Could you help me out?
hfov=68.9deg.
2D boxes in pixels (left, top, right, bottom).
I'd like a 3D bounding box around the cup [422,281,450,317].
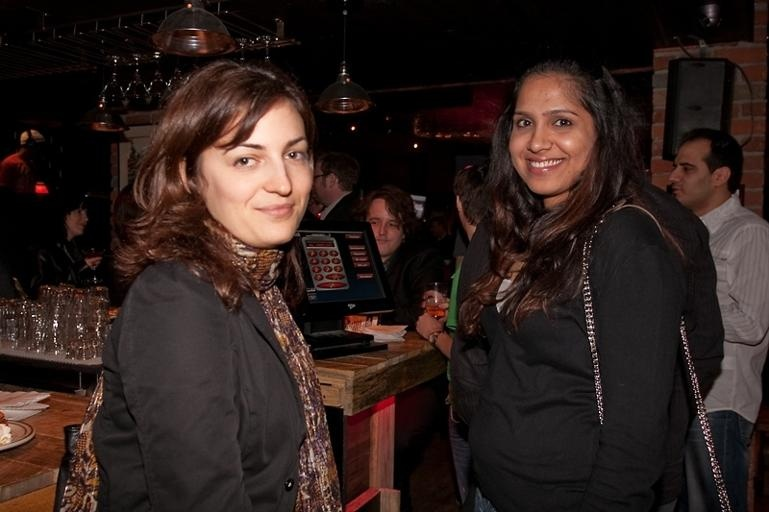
[{"bbox_3d":[0.315,0.260,3.392,0.196,0.259,0.168,4,-27,4],"label":"cup"}]
